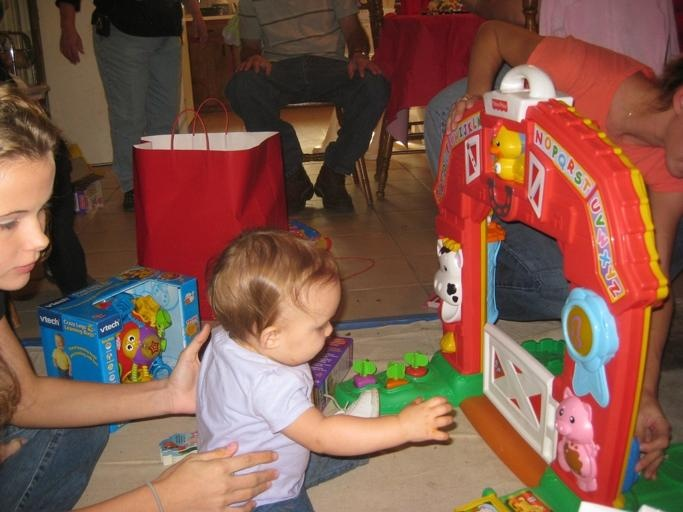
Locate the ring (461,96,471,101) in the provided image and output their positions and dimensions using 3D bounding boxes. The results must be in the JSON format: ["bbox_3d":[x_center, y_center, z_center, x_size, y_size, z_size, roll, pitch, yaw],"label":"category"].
[{"bbox_3d":[0.348,-0.443,1.630,0.023,0.008,0.024,-6,30,3],"label":"ring"}]
